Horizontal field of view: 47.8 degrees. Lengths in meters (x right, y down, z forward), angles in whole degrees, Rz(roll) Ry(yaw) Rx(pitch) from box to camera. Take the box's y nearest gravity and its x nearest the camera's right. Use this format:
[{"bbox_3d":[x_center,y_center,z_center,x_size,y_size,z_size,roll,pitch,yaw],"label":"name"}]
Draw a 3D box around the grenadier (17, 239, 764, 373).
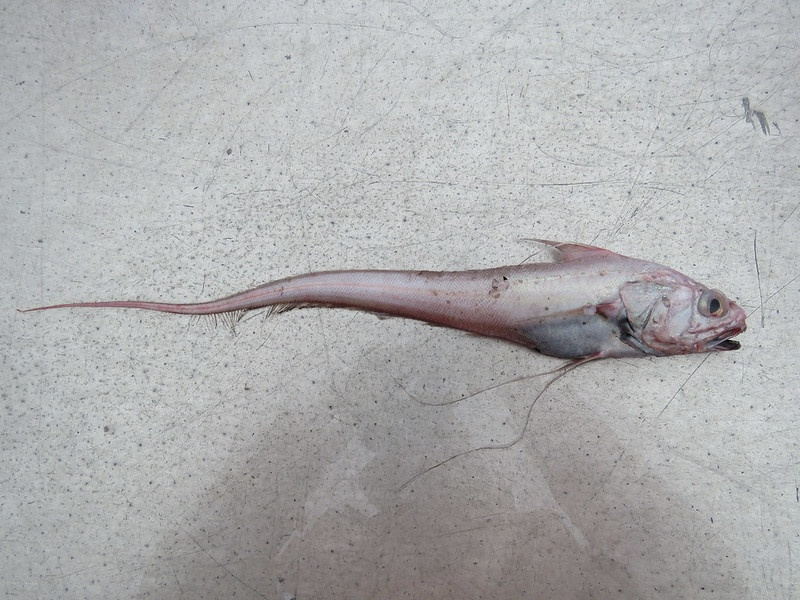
[{"bbox_3d":[0.621,-0.047,6.809,3.878,0.474,0.776,7,72,3],"label":"grenadier"}]
